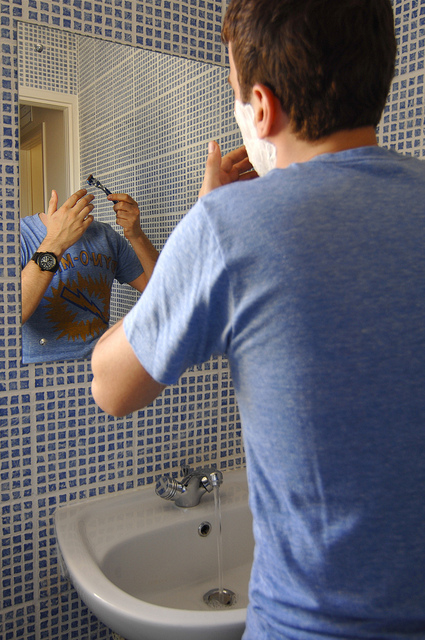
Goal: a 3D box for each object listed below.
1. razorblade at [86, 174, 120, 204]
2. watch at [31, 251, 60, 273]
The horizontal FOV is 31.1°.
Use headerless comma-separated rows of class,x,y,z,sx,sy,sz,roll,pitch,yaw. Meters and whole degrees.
razorblade,-0.188,-0.227,1.282,0.017,0.046,0.011,-56,22,-9
watch,-0.274,-0.094,1.251,0.037,0.027,0.034,9,-1,-23
